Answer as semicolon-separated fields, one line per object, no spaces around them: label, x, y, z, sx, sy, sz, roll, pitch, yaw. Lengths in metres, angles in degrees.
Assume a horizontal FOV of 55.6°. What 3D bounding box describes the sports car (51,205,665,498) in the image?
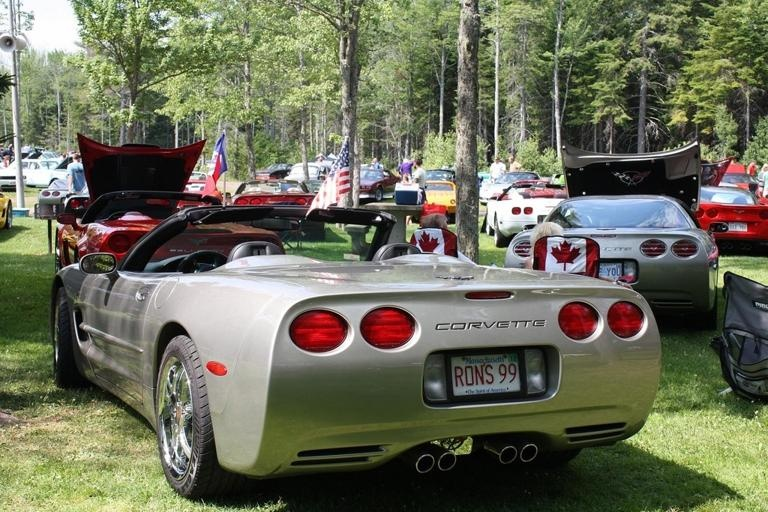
sports car;-0.454;0.663;5.358;4.494;1.916;1.882;6;11;27

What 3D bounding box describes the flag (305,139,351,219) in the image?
flag;-0.647;-1.043;9.317;0.464;0.076;1.579;6;-39;-12

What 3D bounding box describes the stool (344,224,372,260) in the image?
stool;-0.195;-0.113;5.982;0.224;0.348;0.289;-2;1;0

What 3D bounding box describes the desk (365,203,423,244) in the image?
desk;0.195;-0.709;14.554;0.944;0.972;0.976;1;0;-6
